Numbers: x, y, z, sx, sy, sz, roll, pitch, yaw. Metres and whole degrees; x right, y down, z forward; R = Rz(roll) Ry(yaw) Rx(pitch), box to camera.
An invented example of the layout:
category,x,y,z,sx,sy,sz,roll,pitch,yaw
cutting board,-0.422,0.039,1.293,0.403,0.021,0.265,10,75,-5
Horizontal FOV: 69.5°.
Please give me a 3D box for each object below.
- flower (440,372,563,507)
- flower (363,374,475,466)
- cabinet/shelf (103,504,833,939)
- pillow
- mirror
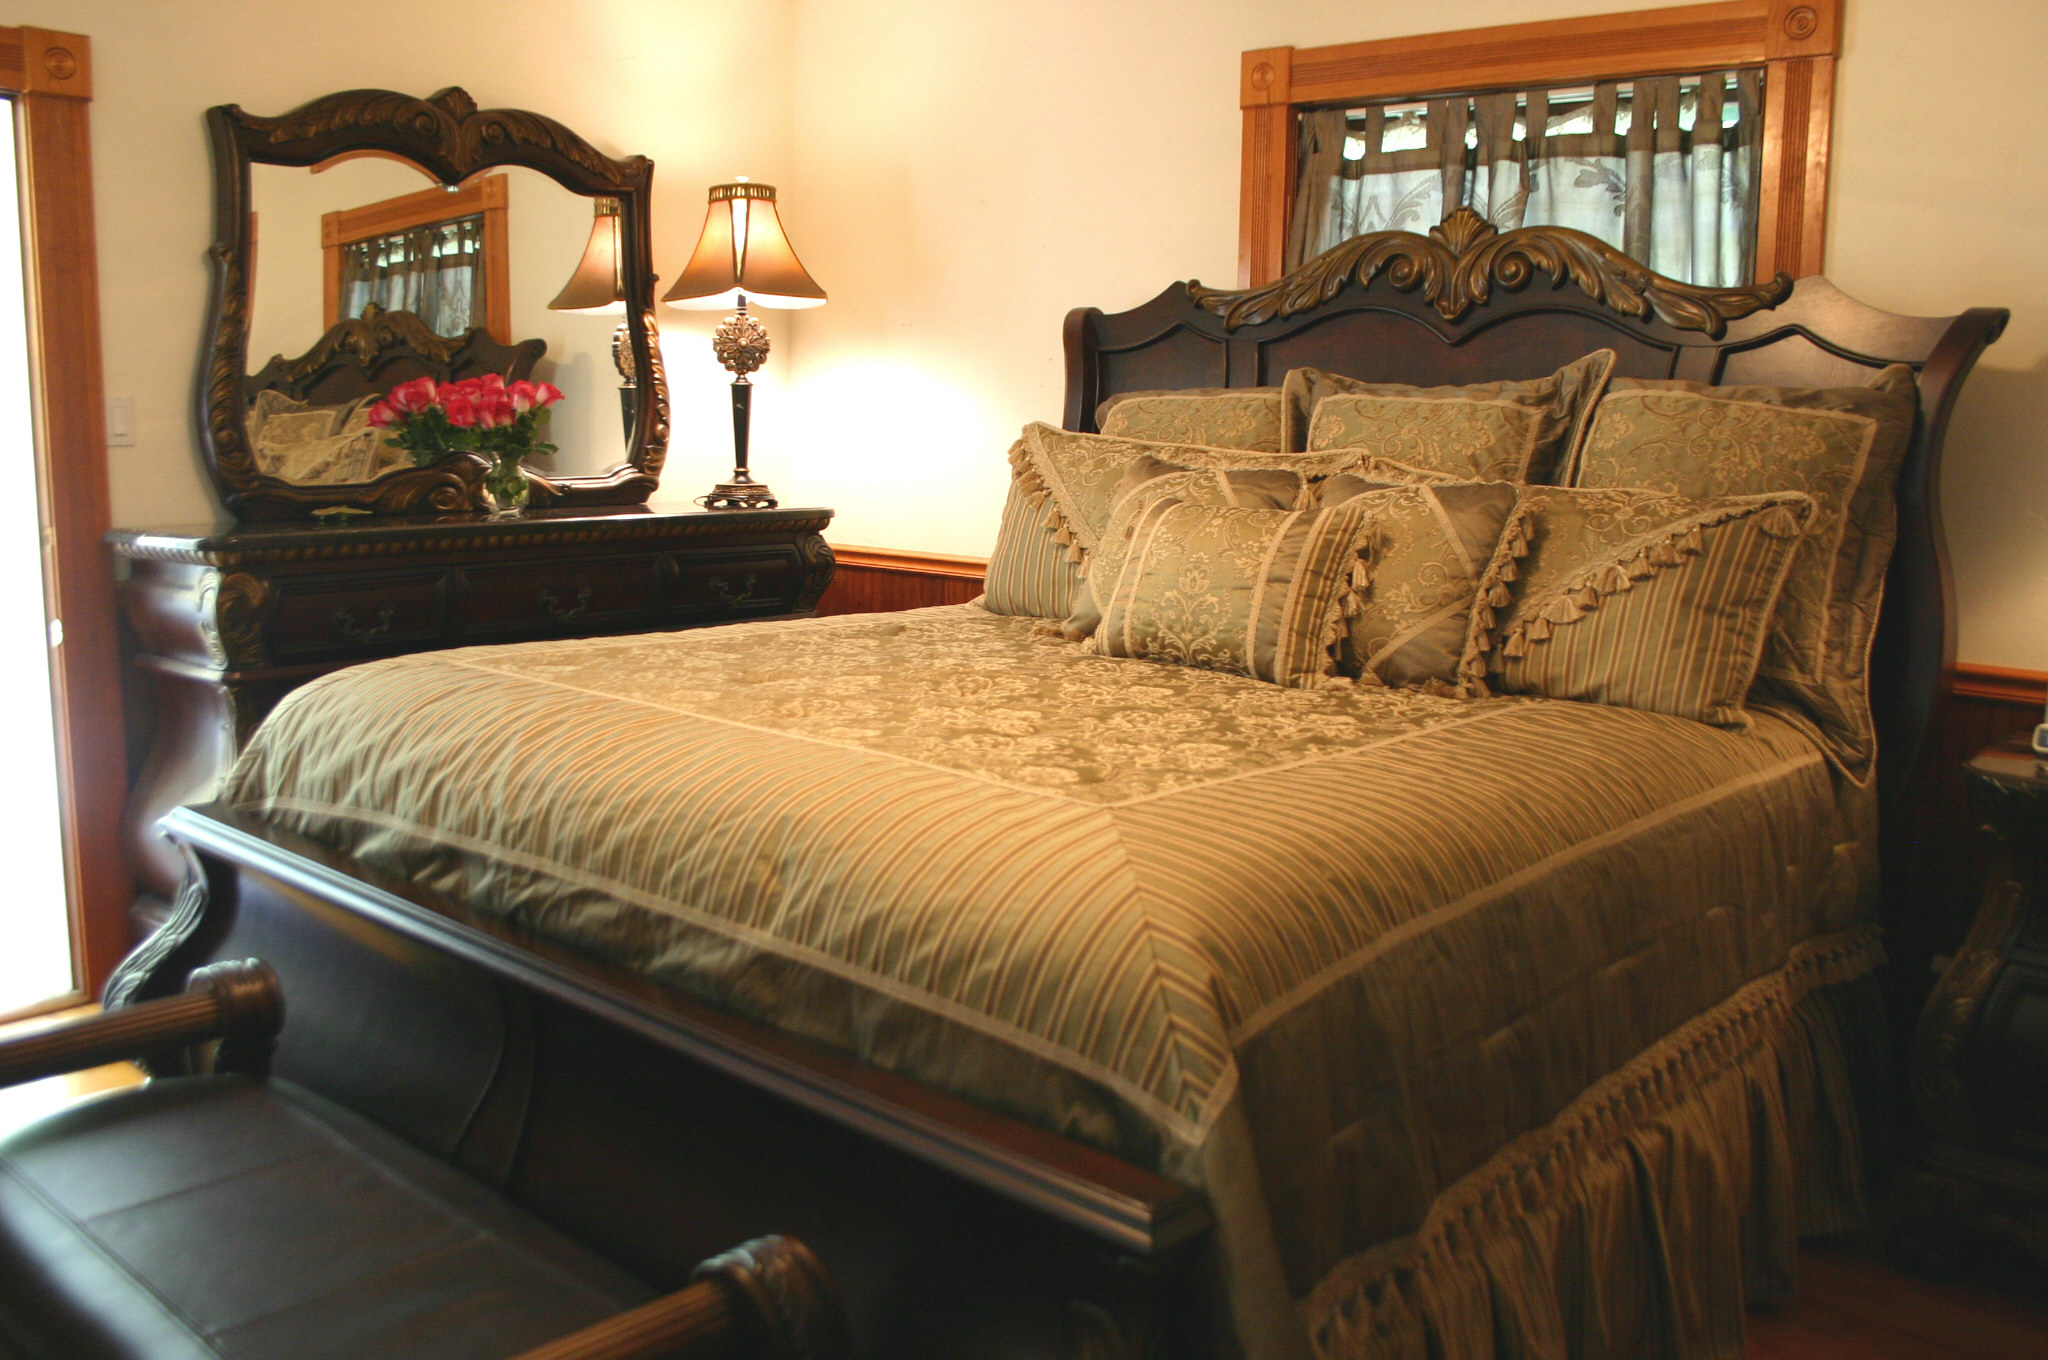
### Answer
category,x,y,z,sx,sy,sz,roll,pitch,yaw
flower,-1.707,-0.768,4.718,0.397,0.415,0.393,15,19,23
flower,-1.886,-0.838,4.653,0.327,0.241,0.319,-4,-2,-33
cabinet/shelf,-1.642,0.105,4.785,0.681,1.205,2.096,6,11,40
pillow,1.001,-0.321,3.578,1.934,0.918,0.981,7,15,29
mirror,-1.776,-1.147,4.590,1.471,1.310,0.082,3,12,-4
